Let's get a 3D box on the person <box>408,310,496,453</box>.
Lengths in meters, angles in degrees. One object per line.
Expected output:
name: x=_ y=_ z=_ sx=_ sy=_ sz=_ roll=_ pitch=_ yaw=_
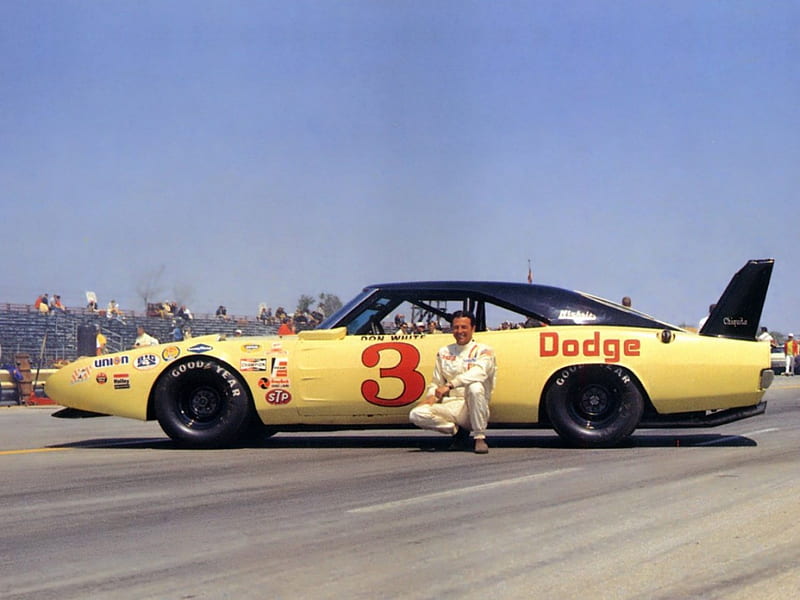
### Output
person: x=0.587 y=0.867 z=8.638 sx=0.961 sy=1.553 sz=0.872 roll=-1 pitch=0 yaw=1

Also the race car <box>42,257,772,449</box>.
race car: x=0.240 y=0.645 z=10.273 sx=8.529 sy=2.004 sz=3.628 roll=-1 pitch=-3 yaw=2
